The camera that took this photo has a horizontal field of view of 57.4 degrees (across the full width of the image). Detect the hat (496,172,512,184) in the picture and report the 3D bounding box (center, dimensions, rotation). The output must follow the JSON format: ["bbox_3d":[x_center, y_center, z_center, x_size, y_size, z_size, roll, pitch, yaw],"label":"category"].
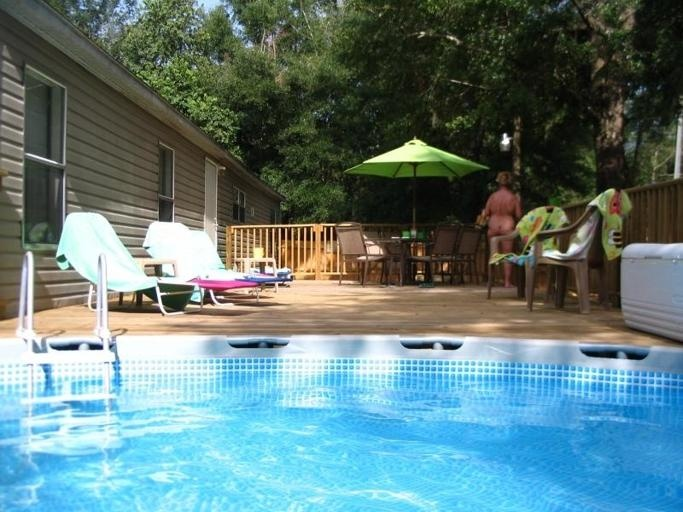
[{"bbox_3d":[2.672,-1.305,10.282,0.249,0.133,0.259,-2,1,-4],"label":"hat"}]
